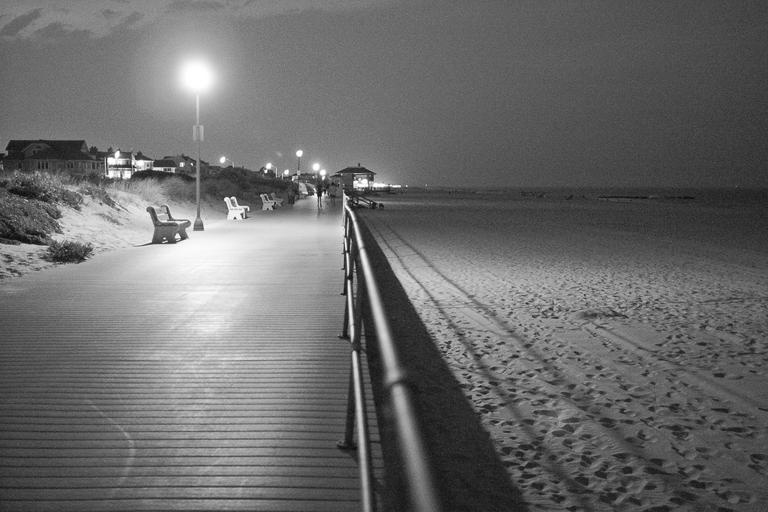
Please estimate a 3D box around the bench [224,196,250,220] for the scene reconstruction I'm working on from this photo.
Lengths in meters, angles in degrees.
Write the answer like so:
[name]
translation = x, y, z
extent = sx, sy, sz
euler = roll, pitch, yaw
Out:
[bench]
translation = -5.723, -1.841, 21.911
extent = 0.714, 0.864, 1.682
euler = 4, 12, -10
